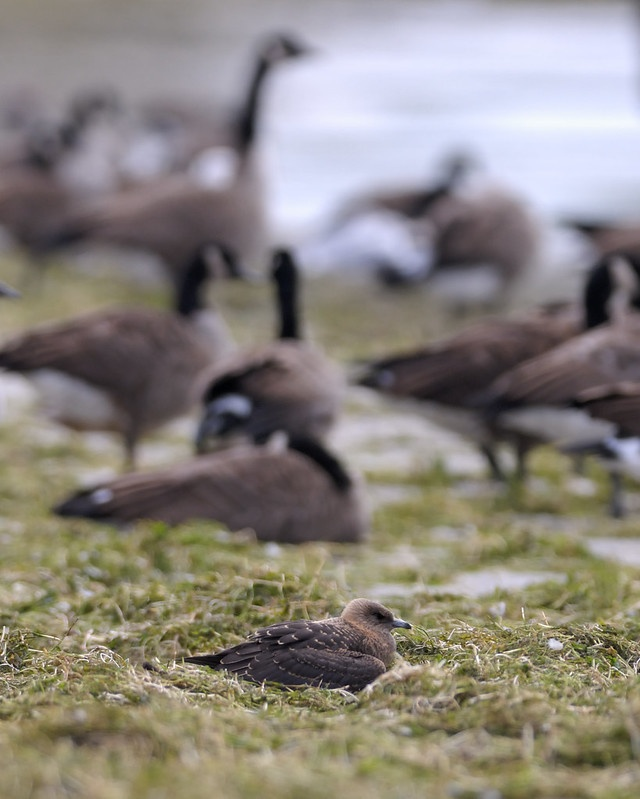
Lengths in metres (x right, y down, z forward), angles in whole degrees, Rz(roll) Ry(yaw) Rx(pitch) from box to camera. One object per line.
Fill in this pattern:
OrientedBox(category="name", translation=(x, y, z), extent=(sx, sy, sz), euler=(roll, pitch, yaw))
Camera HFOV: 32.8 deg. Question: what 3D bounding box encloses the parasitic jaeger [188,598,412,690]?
OrientedBox(category="parasitic jaeger", translation=(-0.070, 0.962, 4.207), extent=(0.936, 0.314, 0.346), euler=(-1, 5, -8))
